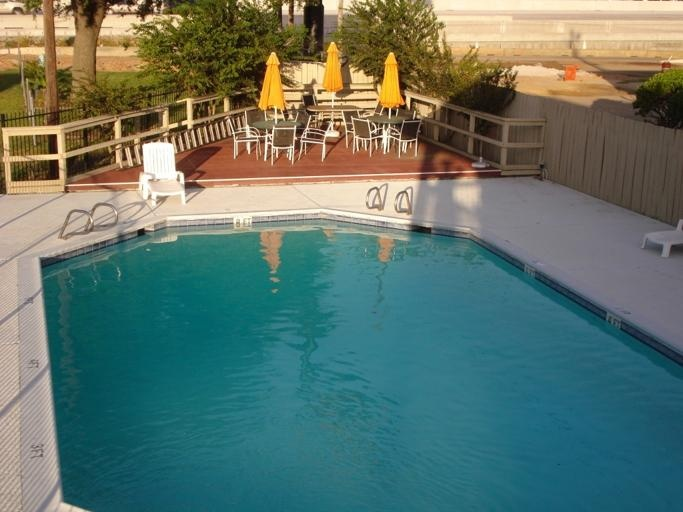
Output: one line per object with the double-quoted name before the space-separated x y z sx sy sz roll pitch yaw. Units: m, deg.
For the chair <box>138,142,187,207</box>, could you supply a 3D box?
"chair" -4.152 -2.088 12.161 0.752 1.088 1.489 -10 17 -26
